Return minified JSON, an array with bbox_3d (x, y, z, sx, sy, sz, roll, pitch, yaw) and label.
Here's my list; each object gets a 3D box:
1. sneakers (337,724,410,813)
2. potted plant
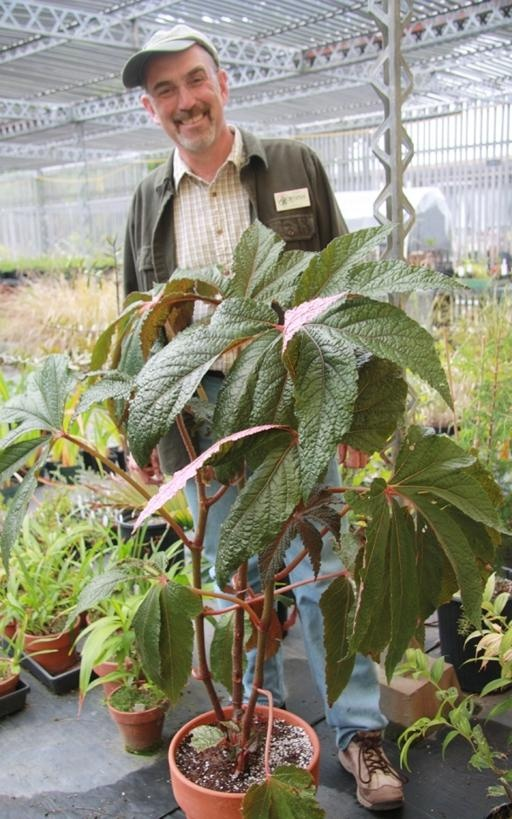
[{"bbox_3d":[0.299,0.916,1.661,0.096,0.104,0.232,-4,7,-12],"label":"sneakers"},{"bbox_3d":[0.109,0.059,1.143,0.842,0.816,0.637,-8,14,-38],"label":"potted plant"}]
